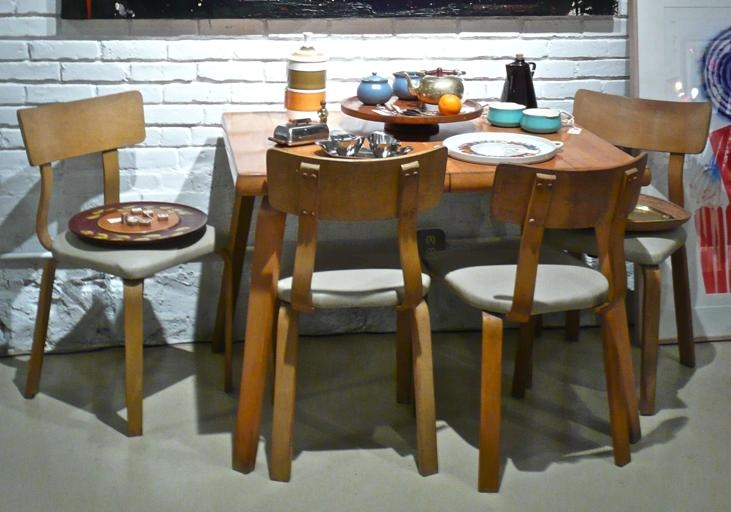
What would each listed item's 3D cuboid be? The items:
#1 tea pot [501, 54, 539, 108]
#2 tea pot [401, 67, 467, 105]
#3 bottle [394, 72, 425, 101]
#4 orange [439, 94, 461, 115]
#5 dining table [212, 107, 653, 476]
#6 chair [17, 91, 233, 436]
[{"bbox_3d":[0.676,-0.778,2.574,0.173,0.211,0.156,-24,34,-30],"label":"tea pot"},{"bbox_3d":[0.285,-0.703,2.441,0.250,0.129,0.175,2,18,8],"label":"tea pot"},{"bbox_3d":[0.189,-0.745,2.537,0.107,0.090,0.139,8,19,20],"label":"bottle"},{"bbox_3d":[0.333,-0.605,2.358,0.080,0.077,0.081,-1,24,34],"label":"orange"},{"bbox_3d":[0.084,0.192,2.641,1.816,1.225,1.365,0,16,-13],"label":"dining table"},{"bbox_3d":[-0.996,-0.028,2.428,0.863,1.243,0.698,7,21,22],"label":"chair"}]
